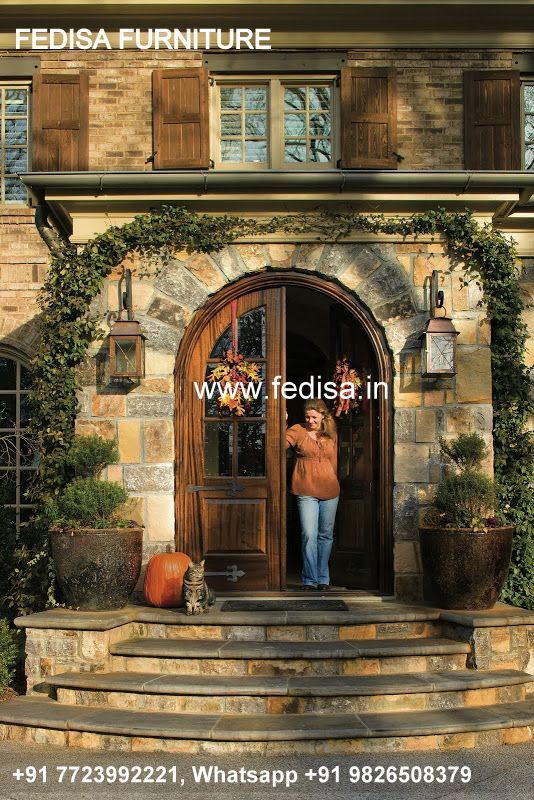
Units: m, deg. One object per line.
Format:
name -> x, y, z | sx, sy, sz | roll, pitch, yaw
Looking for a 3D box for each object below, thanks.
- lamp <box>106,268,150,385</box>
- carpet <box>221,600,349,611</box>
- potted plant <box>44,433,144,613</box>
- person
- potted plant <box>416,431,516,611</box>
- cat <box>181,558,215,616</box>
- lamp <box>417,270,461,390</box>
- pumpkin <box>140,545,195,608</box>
lamp -> -1.029, -0.538, 8.349 | 0.276, 0.860, 0.357 | 0, -5, -7
carpet -> 0.118, 1.441, 7.986 | 0.843, 0.035, 0.589 | 0, -5, 0
potted plant -> -1.175, 0.835, 7.840 | 0.617, 1.186, 0.697 | 0, -5, 0
person -> 0.345, 0.715, 8.843 | 0.392, 1.470, 0.378 | 0, -5, 1
potted plant -> 1.360, 0.833, 7.906 | 0.618, 1.209, 0.721 | -1, -5, 6
cat -> -0.468, 1.271, 7.755 | 0.206, 0.345, 0.396 | 0, -5, -3
lamp -> 1.254, -0.563, 8.368 | 0.252, 0.808, 0.331 | -1, -5, 9
pumpkin -> -0.695, 1.249, 8.040 | 0.347, 0.438, 0.347 | 0, -2, -4
